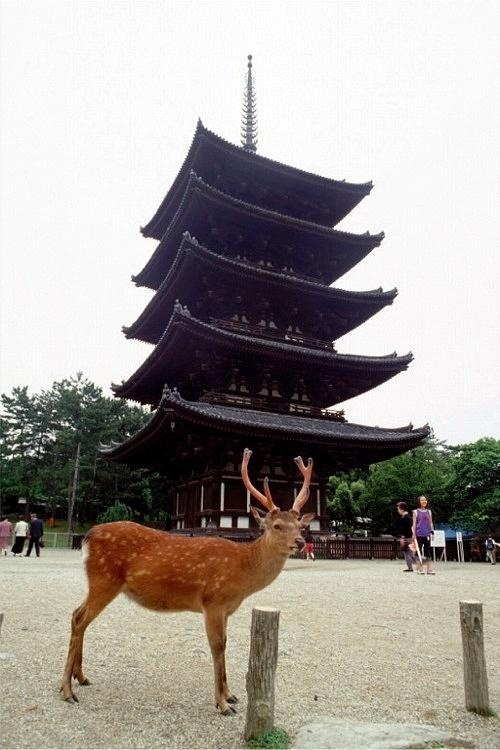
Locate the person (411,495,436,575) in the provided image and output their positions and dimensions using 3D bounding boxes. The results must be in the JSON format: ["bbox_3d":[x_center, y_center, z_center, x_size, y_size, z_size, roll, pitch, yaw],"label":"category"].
[{"bbox_3d":[3.409,3.160,11.227,0.384,1.437,0.368,0,-6,18],"label":"person"}]

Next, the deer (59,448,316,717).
[{"bbox_3d":[-0.379,1.328,3.827,1.544,1.738,0.734,4,-9,6],"label":"deer"}]

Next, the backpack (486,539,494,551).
[{"bbox_3d":[8.038,5.718,19.107,0.215,0.349,0.584,-6,-14,21],"label":"backpack"}]
